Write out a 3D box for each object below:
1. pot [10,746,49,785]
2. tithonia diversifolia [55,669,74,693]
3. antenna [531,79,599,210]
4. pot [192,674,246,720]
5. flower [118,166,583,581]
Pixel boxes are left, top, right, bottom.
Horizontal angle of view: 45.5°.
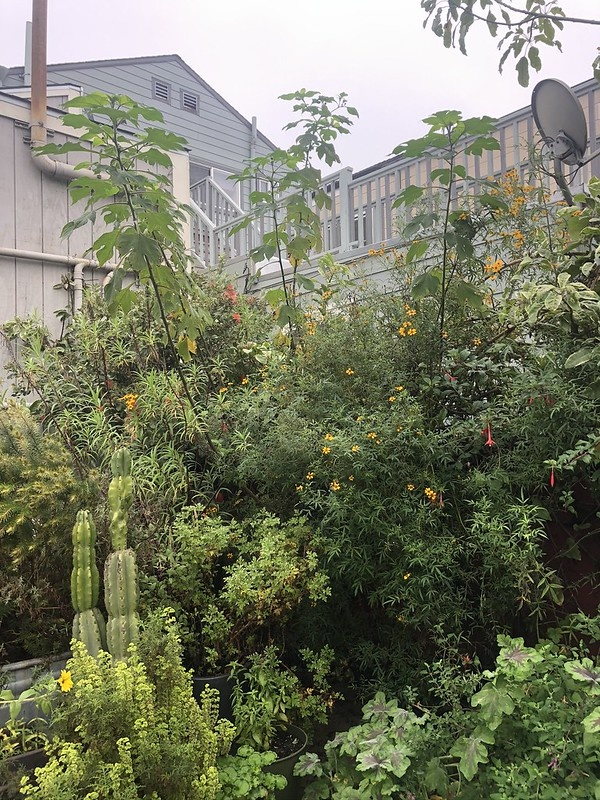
[{"bbox_3d":[-0.985,1.307,2.582,0.055,0.082,0.142,-4,-4,38],"label":"pot"},{"bbox_3d":[-0.794,0.958,2.439,0.036,0.083,0.101,-1,-3,-24],"label":"tithonia diversifolia"},{"bbox_3d":[1.272,-1.231,3.437,0.292,0.612,0.394,-3,-3,19],"label":"antenna"},{"bbox_3d":[-0.339,1.209,2.887,0.205,0.200,0.130,-3,-3,17],"label":"pot"},{"bbox_3d":[0.480,-0.174,3.434,1.606,1.842,1.123,-3,-3,12],"label":"flower"}]
